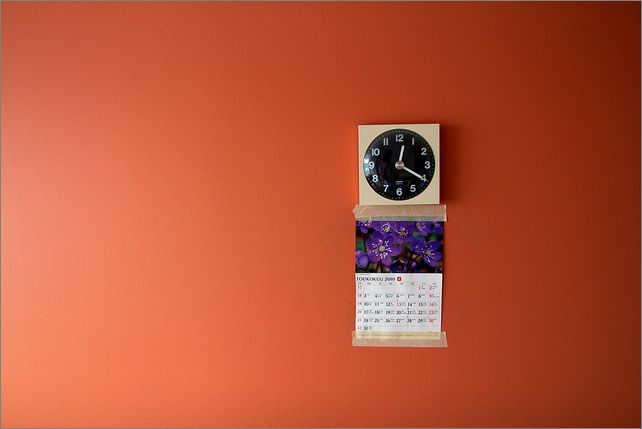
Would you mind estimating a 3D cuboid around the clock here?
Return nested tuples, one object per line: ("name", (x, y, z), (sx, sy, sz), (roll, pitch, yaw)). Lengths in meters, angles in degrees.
("clock", (0.365, -0.232, 3.158), (0.334, 0.352, 0.069), (0, 0, 4))
